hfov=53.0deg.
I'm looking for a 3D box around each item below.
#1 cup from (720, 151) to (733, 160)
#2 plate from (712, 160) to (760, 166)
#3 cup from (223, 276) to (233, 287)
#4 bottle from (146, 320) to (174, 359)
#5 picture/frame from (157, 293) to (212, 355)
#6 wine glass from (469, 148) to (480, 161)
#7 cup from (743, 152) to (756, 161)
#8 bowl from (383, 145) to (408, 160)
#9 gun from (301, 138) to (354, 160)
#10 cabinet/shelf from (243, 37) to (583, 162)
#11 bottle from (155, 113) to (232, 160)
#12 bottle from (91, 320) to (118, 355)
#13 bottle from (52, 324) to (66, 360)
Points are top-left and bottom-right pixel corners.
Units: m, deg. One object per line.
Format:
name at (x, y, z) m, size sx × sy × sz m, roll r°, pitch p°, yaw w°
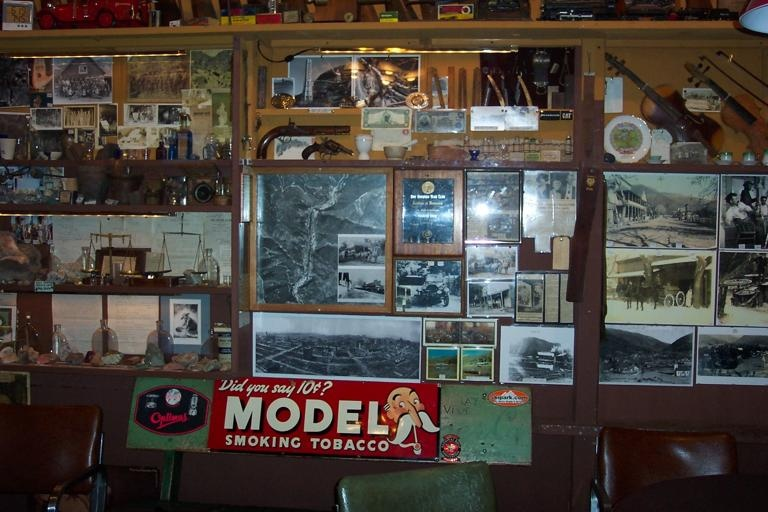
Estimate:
cup at (2.691, -0.795, 6.078) m, size 0.077 × 0.052 × 0.075 m, roll 1°, pitch 6°, yaw 0°
plate at (2.755, -0.728, 6.035) m, size 0.353 × 0.058 × 0.170 m, roll 0°, pitch -1°, yaw 0°
cup at (-1.265, 0.207, 6.236) m, size 0.059 × 0.080 × 0.114 m, roll 1°, pitch 13°, yaw 4°
bottle at (-1.865, 0.730, 6.417) m, size 0.229 × 0.365 × 0.227 m, roll 0°, pitch -1°, yaw 0°
picture/frame at (-1.638, 0.568, 6.385) m, size 0.574 × 0.609 × 0.034 m, roll 0°, pitch -1°, yaw -1°
wine glass at (0.725, -0.821, 6.207) m, size 0.104 × 0.100 × 0.095 m, roll 0°, pitch 2°, yaw -7°
cup at (2.849, -0.778, 6.039) m, size 0.083 × 0.072 × 0.078 m, roll -1°, pitch -3°, yaw 0°
bowl at (0.079, -0.810, 6.077) m, size 0.134 × 0.074 × 0.129 m, roll -1°, pitch 4°, yaw 0°
gun at (-0.462, -0.871, 6.249) m, size 0.418 × 0.211 × 0.250 m, roll 0°, pitch -1°, yaw -3°
cabinet/shelf at (0.191, -1.201, 6.413) m, size 2.763 × 0.934 × 0.343 m, roll 3°, pitch 13°, yaw 15°
bottle at (-1.529, -0.975, 6.290) m, size 0.445 × 0.380 × 0.140 m, roll 1°, pitch 1°, yaw -2°
bottle at (-2.313, 0.693, 6.374) m, size 0.261 × 0.364 × 0.210 m, roll 0°, pitch -5°, yaw -6°
bottle at (-2.688, 0.709, 6.370) m, size 0.102 × 0.292 × 0.098 m, roll -1°, pitch 4°, yaw 0°
